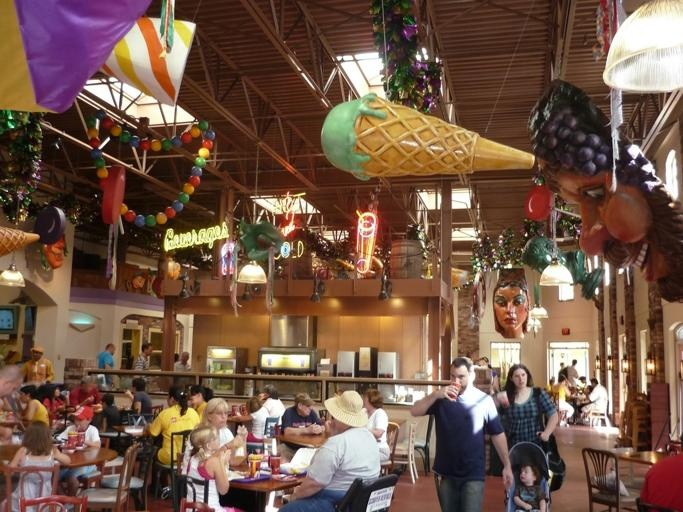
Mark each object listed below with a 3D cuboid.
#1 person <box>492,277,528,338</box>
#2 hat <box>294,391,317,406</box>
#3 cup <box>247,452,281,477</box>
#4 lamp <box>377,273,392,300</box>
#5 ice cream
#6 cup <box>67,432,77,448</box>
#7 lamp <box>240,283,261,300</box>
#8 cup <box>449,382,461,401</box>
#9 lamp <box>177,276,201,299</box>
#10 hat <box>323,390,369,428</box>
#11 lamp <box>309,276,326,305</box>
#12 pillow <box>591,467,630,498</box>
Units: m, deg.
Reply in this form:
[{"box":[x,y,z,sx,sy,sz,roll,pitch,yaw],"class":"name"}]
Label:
[{"box":[1.926,0.570,6.470,0.399,0.755,0.385,-1,1,27],"class":"person"},{"box":[-0.487,1.828,7.301,0.230,0.140,0.178,2,-7,-10],"class":"hat"},{"box":[-0.691,1.876,5.130,0.196,0.143,0.089,3,-9,-4],"class":"cup"},{"box":[0.996,0.653,12.864,0.257,0.606,0.523,-2,-12,8],"class":"lamp"},{"box":[0.286,-0.408,2.202,0.819,0.405,0.345,10,-2,22],"class":"ice cream"},{"box":[-2.912,1.987,6.184,0.115,0.139,0.118,2,-6,0],"class":"cup"},{"box":[-2.182,0.873,13.991,0.371,0.457,0.427,2,-12,-14],"class":"lamp"},{"box":[0.867,1.030,4.372,0.094,0.161,0.103,8,-12,2],"class":"cup"},{"box":[-3.791,0.755,14.239,0.482,0.693,0.434,3,-5,4],"class":"lamp"},{"box":[0.024,1.128,4.314,0.276,0.129,0.284,0,23,-46],"class":"hat"},{"box":[-0.548,0.753,13.539,0.338,0.659,0.706,0,-12,-1],"class":"lamp"},{"box":[2.996,2.441,6.238,0.324,0.339,0.560,-1,-13,1],"class":"pillow"}]
